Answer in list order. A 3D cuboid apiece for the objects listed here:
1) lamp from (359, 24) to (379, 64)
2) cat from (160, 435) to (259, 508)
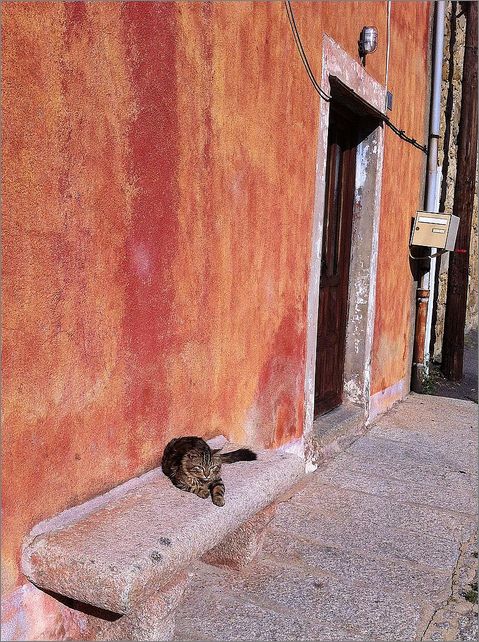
[{"bbox_3d":[0.915,-1.945,4.804,0.117,0.238,0.204,3,5,23],"label":"lamp"},{"bbox_3d":[-0.148,0.542,2.630,0.286,0.237,0.494,4,9,-3],"label":"cat"}]
